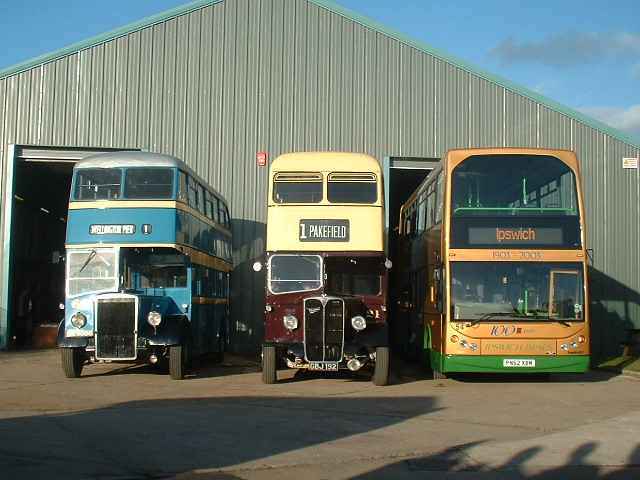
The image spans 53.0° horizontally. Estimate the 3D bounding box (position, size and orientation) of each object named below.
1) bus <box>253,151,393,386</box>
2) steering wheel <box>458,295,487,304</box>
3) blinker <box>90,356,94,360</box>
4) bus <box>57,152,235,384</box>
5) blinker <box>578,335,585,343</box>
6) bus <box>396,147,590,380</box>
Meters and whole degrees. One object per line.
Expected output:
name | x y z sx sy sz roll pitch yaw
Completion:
bus | 0.586 0.200 19.150 3.200 5.362 10.260 1 6 5
steering wheel | 3.349 1.325 14.158 0.564 0.193 0.044 0 -7 9
blinker | -5.173 2.688 14.572 0.113 0.044 0.106 2 -30 -4
bus | -4.813 0.886 19.702 3.214 5.264 10.460 0 -5 -2
blinker | 5.706 2.191 14.068 0.146 0.137 0.035 6 0 31
bus | 4.047 0.758 15.908 3.197 5.425 4.308 2 -7 -8
